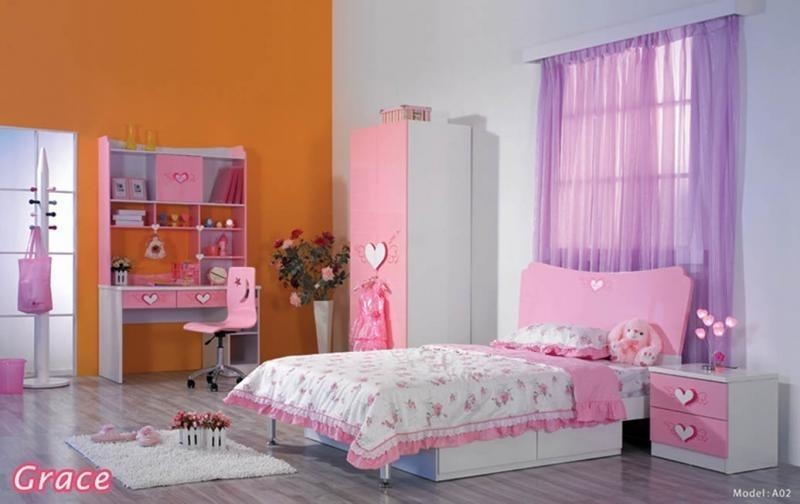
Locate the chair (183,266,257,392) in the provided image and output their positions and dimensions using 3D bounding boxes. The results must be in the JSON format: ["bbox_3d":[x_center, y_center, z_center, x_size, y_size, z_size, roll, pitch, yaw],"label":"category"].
[{"bbox_3d":[-2.213,0.924,7.683,0.811,1.458,1.074,0,2,-14],"label":"chair"}]

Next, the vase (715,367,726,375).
[{"bbox_3d":[2.678,0.988,5.094,0.064,0.039,0.062,0,-3,-8],"label":"vase"}]

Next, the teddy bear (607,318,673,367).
[{"bbox_3d":[2.195,0.831,5.661,0.281,0.415,0.495,10,-4,-44],"label":"teddy bear"}]

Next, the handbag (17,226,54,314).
[{"bbox_3d":[-4.359,0.229,7.288,0.381,1.059,0.287,1,2,-5],"label":"handbag"}]

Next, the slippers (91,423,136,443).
[{"bbox_3d":[-2.504,1.599,5.335,0.269,0.087,0.205,5,-8,-33],"label":"slippers"}]

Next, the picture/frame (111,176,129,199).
[{"bbox_3d":[-3.627,-0.818,7.918,0.249,0.326,0.245,0,-1,2],"label":"picture/frame"}]

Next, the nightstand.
[{"bbox_3d":[2.718,1.434,5.275,0.669,0.757,0.812,5,-6,-21],"label":"nightstand"}]

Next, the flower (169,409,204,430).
[{"bbox_3d":[-1.826,1.414,5.223,0.287,0.201,0.284,5,-8,-34],"label":"flower"}]

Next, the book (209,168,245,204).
[{"bbox_3d":[-2.398,-0.902,8.521,0.290,0.486,0.517,7,-4,-32],"label":"book"}]

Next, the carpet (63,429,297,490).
[{"bbox_3d":[-1.815,1.662,4.997,1.718,0.082,1.121,2,2,44],"label":"carpet"}]

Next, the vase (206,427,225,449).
[{"bbox_3d":[-1.539,1.553,5.129,0.167,0.160,0.162,0,2,-16],"label":"vase"}]

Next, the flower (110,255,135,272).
[{"bbox_3d":[-3.638,0.161,7.998,0.251,0.198,0.269,0,2,-23],"label":"flower"}]

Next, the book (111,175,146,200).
[{"bbox_3d":[-3.535,-0.810,7.979,0.477,0.313,0.281,0,1,-26],"label":"book"}]

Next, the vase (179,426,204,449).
[{"bbox_3d":[-1.746,1.550,5.115,0.184,0.170,0.175,1,1,-16],"label":"vase"}]

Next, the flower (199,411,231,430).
[{"bbox_3d":[-1.571,1.423,5.164,0.229,0.119,0.149,0,2,-21],"label":"flower"}]

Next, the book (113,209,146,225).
[{"bbox_3d":[-3.523,-0.435,7.931,0.321,0.158,0.231,1,-2,-36],"label":"book"}]

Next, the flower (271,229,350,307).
[{"bbox_3d":[-1.086,0.233,8.854,1.089,1.295,1.297,-2,-2,40],"label":"flower"}]
